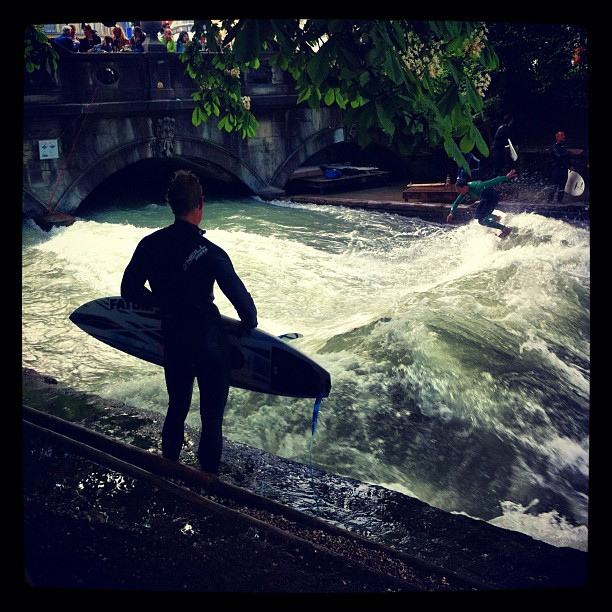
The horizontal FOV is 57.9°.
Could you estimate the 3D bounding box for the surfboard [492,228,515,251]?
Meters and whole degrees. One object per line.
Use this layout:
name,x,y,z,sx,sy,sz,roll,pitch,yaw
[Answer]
surfboard,1.647,-0.562,4.621,0.162,0.178,0.052,-25,9,35

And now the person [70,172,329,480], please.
person,-0.731,0.103,3.657,1.579,1.917,0.554,6,10,24
